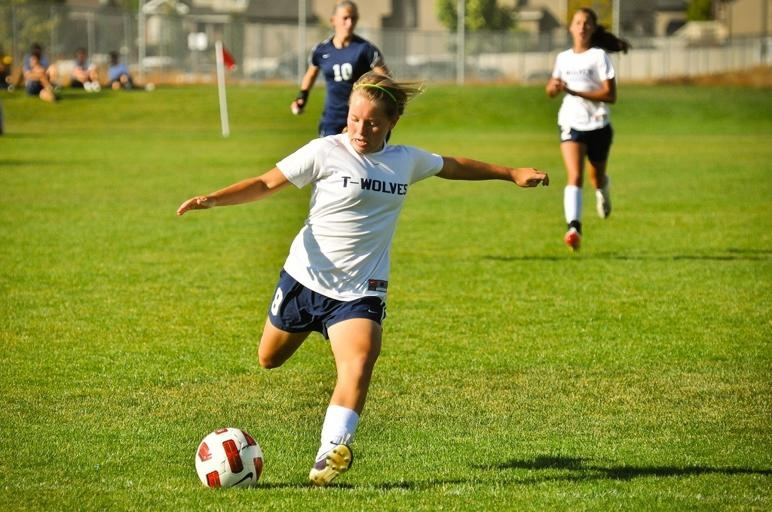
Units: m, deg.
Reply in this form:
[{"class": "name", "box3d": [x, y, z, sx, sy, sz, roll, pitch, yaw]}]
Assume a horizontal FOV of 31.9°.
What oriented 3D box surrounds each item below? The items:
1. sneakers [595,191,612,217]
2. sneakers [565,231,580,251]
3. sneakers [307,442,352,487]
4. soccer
[{"class": "sneakers", "box3d": [2.685, -0.635, 16.695, 0.142, 0.427, 0.181, -8, -17, 20]}, {"class": "sneakers", "box3d": [2.034, -0.167, 14.625, 0.151, 0.233, 0.245, 1, 10, 5]}, {"class": "sneakers", "box3d": [-0.410, 1.610, 10.494, 0.453, 0.182, 0.221, -37, -3, 10]}, {"class": "soccer", "box3d": [-1.240, 1.638, 10.739, 0.461, 0.430, 0.455, -15, 39, -32]}]
